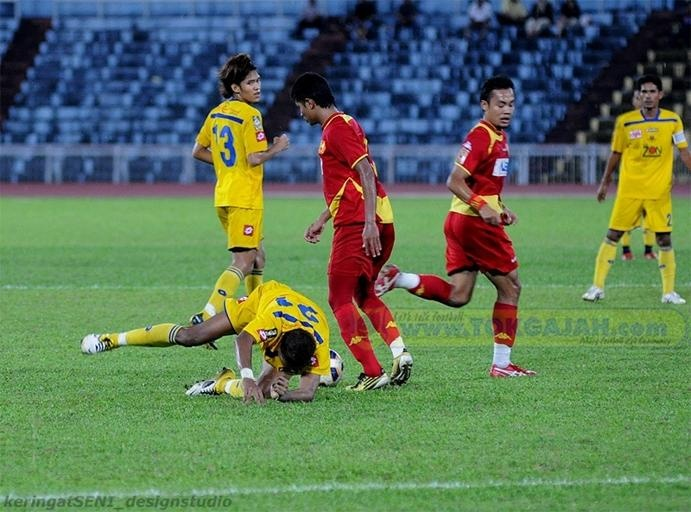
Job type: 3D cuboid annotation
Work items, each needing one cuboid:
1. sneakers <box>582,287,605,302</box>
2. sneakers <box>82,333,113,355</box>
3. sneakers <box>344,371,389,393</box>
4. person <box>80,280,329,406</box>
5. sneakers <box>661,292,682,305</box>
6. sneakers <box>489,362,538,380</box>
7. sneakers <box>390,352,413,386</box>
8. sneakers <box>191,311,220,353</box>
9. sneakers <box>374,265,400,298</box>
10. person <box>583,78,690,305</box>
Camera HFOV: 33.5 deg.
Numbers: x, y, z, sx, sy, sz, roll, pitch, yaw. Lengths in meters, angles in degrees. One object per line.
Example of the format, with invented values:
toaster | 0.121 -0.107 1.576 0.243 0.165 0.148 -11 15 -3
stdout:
sneakers | 2.780 0.435 12.776 0.293 0.138 0.104 2 -12 -37
sneakers | -2.319 0.824 10.672 0.193 0.113 0.253 3 -7 7
sneakers | 0.192 1.123 10.304 0.418 0.170 0.149 -6 -3 -1
person | -1.156 0.870 10.421 1.367 1.052 2.310 8 -4 -44
sneakers | 3.565 0.466 12.554 0.098 0.110 0.261 1 -4 -42
sneakers | 1.541 1.048 10.590 0.440 0.155 0.155 -1 -1 -4
sneakers | 0.503 1.008 10.289 0.144 0.357 0.176 9 25 -16
sneakers | -1.332 0.704 10.864 0.185 0.225 0.513 7 8 -9
sneakers | 0.379 0.205 10.450 0.144 0.332 0.152 36 13 7
person | 3.237 -0.714 12.558 1.007 2.457 0.377 2 6 12
